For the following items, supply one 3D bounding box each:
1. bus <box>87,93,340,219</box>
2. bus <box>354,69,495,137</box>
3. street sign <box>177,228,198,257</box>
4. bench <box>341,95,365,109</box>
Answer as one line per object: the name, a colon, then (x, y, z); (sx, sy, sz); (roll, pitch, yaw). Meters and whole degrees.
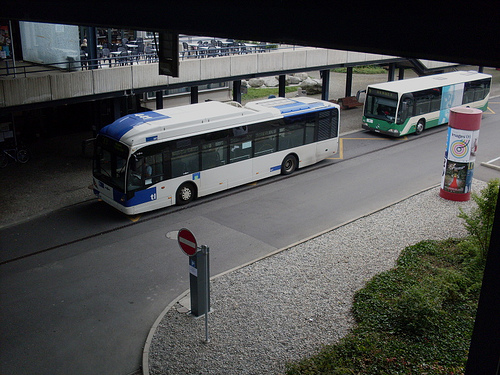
bus: (-0.785, -2.159, 18.183); (12.108, 3.790, 3.240); (-17, 28, -35)
bus: (14.007, -6.124, 28.451); (14.584, 4.087, 4.206); (-20, 29, -35)
street sign: (-1.430, 1.314, 8.738); (0.204, 0.799, 0.639); (-19, 29, -37)
bench: (8.626, -7.276, 31.801); (2.359, 0.633, 0.970); (-24, 46, -38)
